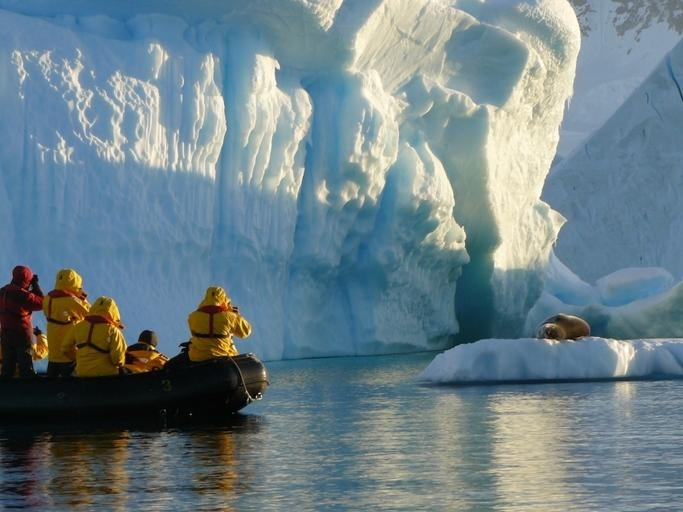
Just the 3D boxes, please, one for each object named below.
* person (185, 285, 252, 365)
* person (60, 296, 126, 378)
[{"bbox_3d":[-2.354,1.323,32.836,1.118,1.413,1.218,7,8,36],"label":"person"},{"bbox_3d":[-4.384,1.479,32.007,1.039,1.372,0.452,0,-7,-4],"label":"person"}]
